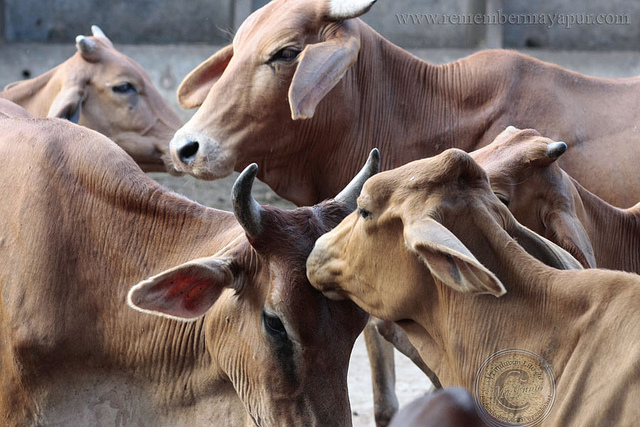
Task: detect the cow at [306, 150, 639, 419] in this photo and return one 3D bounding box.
[{"bbox_3d":[1.192,0.617,10.035,1.984,1.467,1.801,4,2,21],"label":"cow"}]
